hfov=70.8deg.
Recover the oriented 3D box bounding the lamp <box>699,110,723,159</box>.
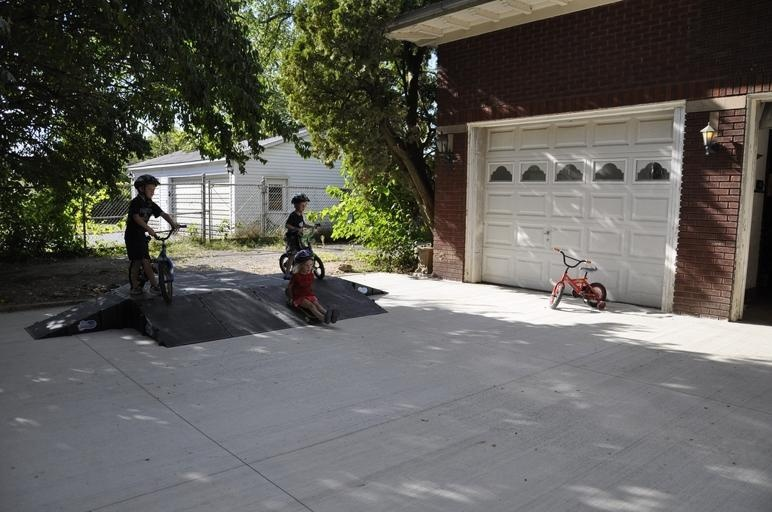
[{"bbox_3d":[5.557,-2.115,9.297,0.323,0.733,0.205,3,7,30],"label":"lamp"}]

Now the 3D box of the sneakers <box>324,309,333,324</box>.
[{"bbox_3d":[-0.948,1.004,9.149,0.168,0.225,0.082,4,7,-20],"label":"sneakers"}]

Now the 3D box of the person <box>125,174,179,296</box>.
[{"bbox_3d":[-3.962,-0.378,9.124,0.705,2.023,0.963,-4,7,-26],"label":"person"}]

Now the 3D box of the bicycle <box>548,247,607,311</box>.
[{"bbox_3d":[3.652,0.475,10.291,1.389,1.015,0.734,3,11,-22],"label":"bicycle"}]

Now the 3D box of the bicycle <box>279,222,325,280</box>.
[{"bbox_3d":[-1.788,-0.094,11.396,0.699,1.032,1.643,-9,9,-42],"label":"bicycle"}]

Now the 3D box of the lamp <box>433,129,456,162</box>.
[{"bbox_3d":[1.400,-2.581,12.734,0.214,0.787,0.606,-5,7,-35],"label":"lamp"}]

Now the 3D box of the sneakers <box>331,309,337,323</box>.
[{"bbox_3d":[-0.858,0.998,9.192,0.105,0.268,0.241,-2,6,-6],"label":"sneakers"}]

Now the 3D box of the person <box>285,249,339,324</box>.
[{"bbox_3d":[-1.229,0.533,9.232,0.735,1.060,1.205,-5,23,-38],"label":"person"}]

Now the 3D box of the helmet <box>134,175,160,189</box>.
[{"bbox_3d":[-3.954,-1.293,9.027,0.395,0.204,0.272,-8,1,-19],"label":"helmet"}]

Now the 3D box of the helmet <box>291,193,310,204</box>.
[{"bbox_3d":[-1.647,-1.093,10.484,0.264,0.206,0.521,-2,6,-14],"label":"helmet"}]
